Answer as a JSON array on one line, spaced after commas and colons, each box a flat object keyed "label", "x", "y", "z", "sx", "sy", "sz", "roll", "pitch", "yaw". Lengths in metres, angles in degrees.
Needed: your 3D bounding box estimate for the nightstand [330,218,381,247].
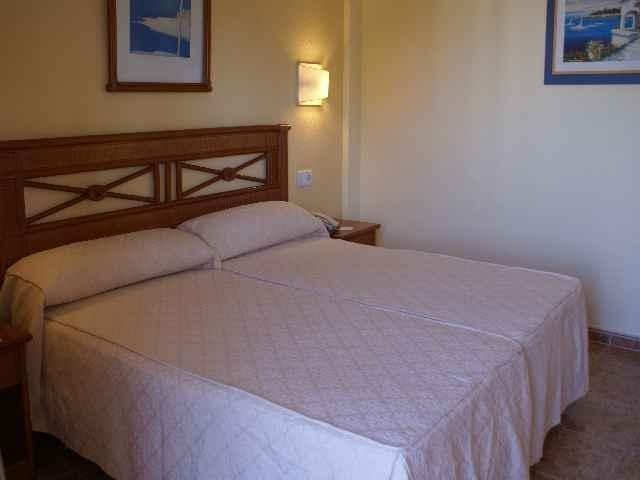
[{"label": "nightstand", "x": 0.242, "y": -0.073, "z": 3.671, "sx": 0.252, "sy": 0.256, "sz": 0.248, "roll": 14, "pitch": 23, "yaw": 36}]
